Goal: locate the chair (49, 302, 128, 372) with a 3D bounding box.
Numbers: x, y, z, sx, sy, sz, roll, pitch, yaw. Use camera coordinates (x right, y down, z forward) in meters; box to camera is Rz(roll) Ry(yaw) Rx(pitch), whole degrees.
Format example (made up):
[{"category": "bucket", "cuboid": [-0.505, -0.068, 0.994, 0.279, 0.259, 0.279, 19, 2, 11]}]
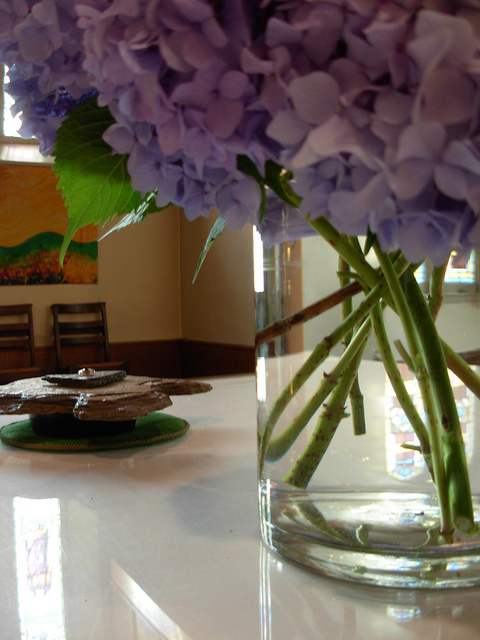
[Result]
[{"category": "chair", "cuboid": [-1.402, 0.141, 4.392, 0.548, 1.048, 0.620, 0, -7, -27]}]
